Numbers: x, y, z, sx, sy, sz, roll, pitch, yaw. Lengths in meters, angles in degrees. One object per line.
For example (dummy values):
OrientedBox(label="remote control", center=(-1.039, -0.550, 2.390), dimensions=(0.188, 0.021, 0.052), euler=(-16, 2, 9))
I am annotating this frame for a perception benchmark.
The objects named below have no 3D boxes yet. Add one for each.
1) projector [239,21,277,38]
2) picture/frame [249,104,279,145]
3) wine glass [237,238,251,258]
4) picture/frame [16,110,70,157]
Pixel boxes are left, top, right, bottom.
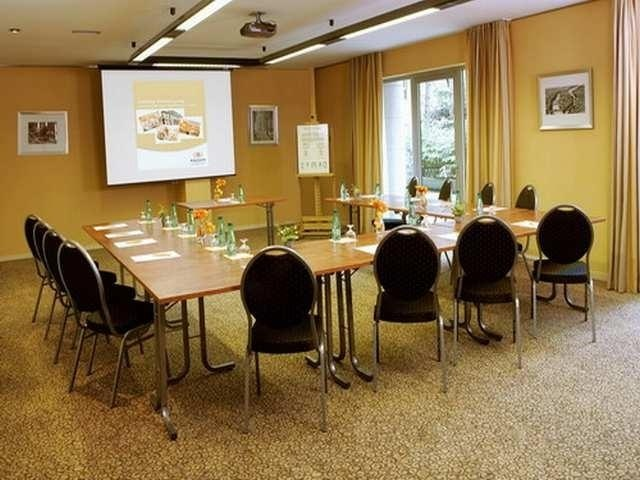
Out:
OrientedBox(label="projector", center=(-0.841, -2.840, 6.555), dimensions=(0.414, 0.220, 0.375), euler=(-8, 15, -23))
OrientedBox(label="picture/frame", center=(-1.268, -2.547, 10.772), dimensions=(0.759, 0.990, 0.065), euler=(-5, 7, -36))
OrientedBox(label="wine glass", center=(-0.878, 0.095, 5.655), dimensions=(0.131, 0.221, 0.144), euler=(-1, 7, 2))
OrientedBox(label="picture/frame", center=(-5.112, -1.966, 8.966), dimensions=(0.772, 0.829, 0.063), euler=(-3, 4, -30))
